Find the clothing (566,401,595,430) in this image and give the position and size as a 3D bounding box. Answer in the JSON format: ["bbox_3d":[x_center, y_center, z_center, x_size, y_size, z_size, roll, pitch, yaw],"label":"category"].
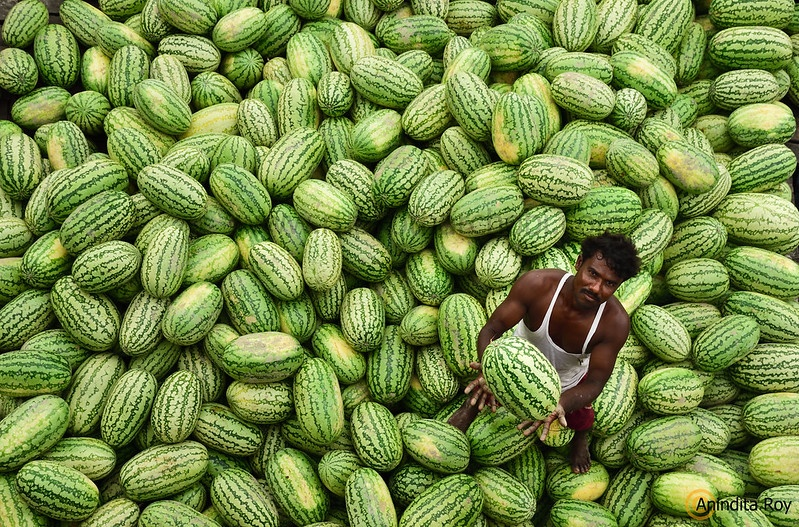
[{"bbox_3d":[0.950,0.764,3.997,0.110,0.155,0.166,-8,40,26],"label":"clothing"}]

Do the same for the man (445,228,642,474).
[{"bbox_3d":[0.727,0.559,3.845,0.770,1.512,0.919,6,41,-3],"label":"man"}]

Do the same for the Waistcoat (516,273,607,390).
[{"bbox_3d":[0.781,0.310,3.683,0.326,0.423,0.239,42,64,6],"label":"Waistcoat"}]
